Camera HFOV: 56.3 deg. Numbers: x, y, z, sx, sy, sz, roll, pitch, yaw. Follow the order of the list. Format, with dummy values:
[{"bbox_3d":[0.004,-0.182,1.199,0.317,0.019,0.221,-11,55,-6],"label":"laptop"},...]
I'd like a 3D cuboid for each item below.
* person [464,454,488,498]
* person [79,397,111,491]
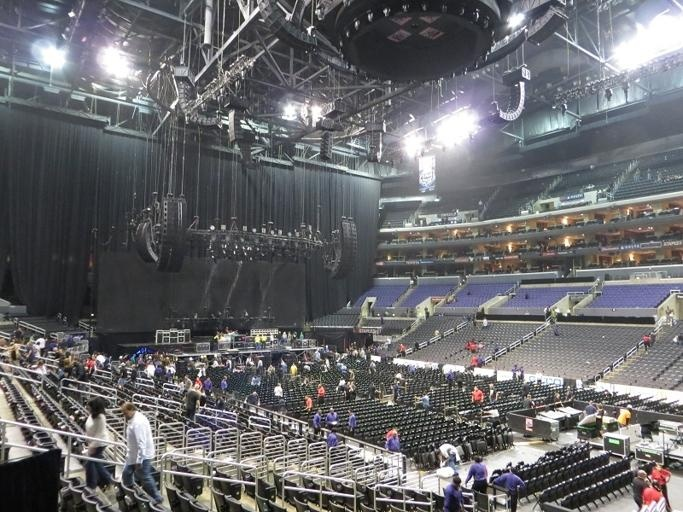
[{"bbox_3d":[4.979,8.193,23.724,0.810,1.230,0.849,-1,-13,11],"label":"person"},{"bbox_3d":[-7.797,5.938,20.015,1.176,2.945,0.957,3,4,-20],"label":"person"}]
